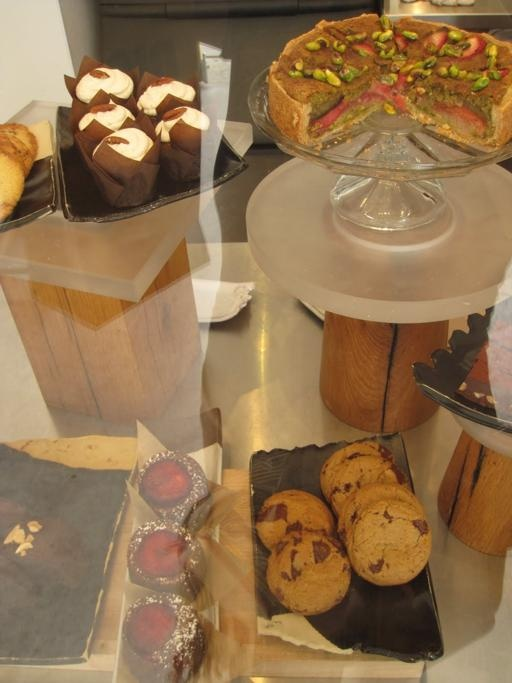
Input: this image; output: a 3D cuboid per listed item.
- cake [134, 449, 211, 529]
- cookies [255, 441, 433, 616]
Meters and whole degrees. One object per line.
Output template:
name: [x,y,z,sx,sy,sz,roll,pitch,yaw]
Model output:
cake: [-0.061,0.104,0.411,0.043,0.035,0.059,11,43,21]
cookies: [0.065,0.133,0.431,0.131,0.062,0.110,-11,39,-5]
